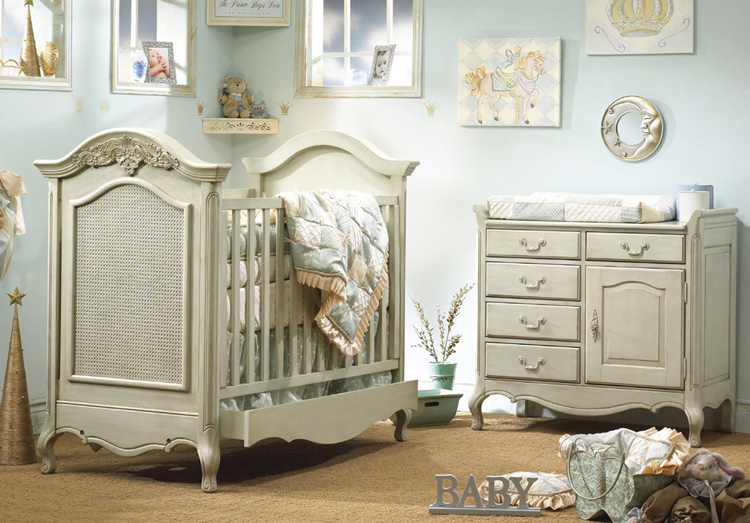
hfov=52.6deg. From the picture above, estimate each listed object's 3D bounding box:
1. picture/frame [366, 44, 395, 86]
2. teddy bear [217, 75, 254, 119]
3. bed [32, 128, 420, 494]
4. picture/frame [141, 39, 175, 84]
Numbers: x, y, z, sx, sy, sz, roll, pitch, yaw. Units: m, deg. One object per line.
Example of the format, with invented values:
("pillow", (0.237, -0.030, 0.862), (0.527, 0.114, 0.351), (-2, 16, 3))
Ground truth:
("picture/frame", (0.041, -1.298, 5.004), (0.154, 0.264, 0.037), (11, 5, 33))
("teddy bear", (-0.947, -1.128, 5.188), (0.251, 0.278, 0.178), (-11, 27, -29))
("bed", (-0.689, 0.139, 4.279), (1.393, 1.858, 2.009), (1, 3, 35))
("picture/frame", (-1.364, -1.245, 4.748), (0.275, 0.356, 0.039), (0, -1, -24))
